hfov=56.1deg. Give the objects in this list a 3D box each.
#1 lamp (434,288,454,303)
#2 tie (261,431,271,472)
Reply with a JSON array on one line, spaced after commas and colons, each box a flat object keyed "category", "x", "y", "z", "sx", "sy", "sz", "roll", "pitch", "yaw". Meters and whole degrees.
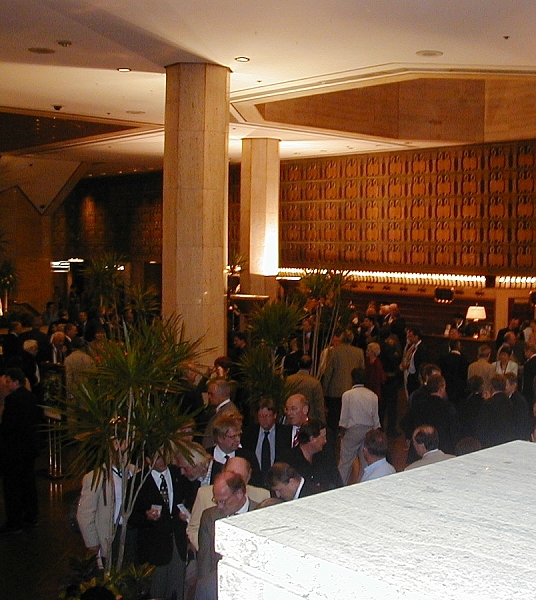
[{"category": "lamp", "x": 5.688, "y": -0.137, "z": 16.158, "sx": 0.733, "sy": 0.509, "sz": 0.410, "roll": 1, "pitch": 6, "yaw": 40}, {"category": "tie", "x": -0.027, "y": 1.507, "z": 4.955, "sx": 0.099, "sy": 0.381, "sz": 0.049, "roll": -3, "pitch": 4, "yaw": -5}]
